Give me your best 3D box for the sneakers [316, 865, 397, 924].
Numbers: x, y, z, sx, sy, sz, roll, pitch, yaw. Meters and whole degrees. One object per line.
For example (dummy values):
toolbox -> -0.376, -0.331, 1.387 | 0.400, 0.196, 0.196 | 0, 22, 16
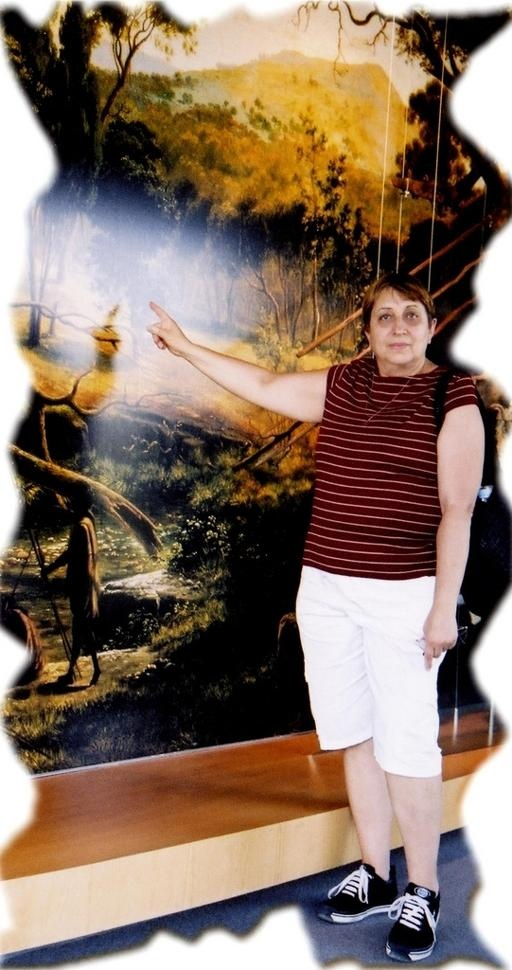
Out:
sneakers -> 0.214, 0.851, 1.679 | 0.220, 0.108, 0.077 | 14, -14, -41

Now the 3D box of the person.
person -> 0.190, 0.323, 1.640 | 0.187, 1.149, 0.572 | -2, 9, -36

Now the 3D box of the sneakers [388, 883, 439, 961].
sneakers -> 0.305, 0.822, 1.511 | 0.081, 0.145, 0.154 | 5, 7, 20
